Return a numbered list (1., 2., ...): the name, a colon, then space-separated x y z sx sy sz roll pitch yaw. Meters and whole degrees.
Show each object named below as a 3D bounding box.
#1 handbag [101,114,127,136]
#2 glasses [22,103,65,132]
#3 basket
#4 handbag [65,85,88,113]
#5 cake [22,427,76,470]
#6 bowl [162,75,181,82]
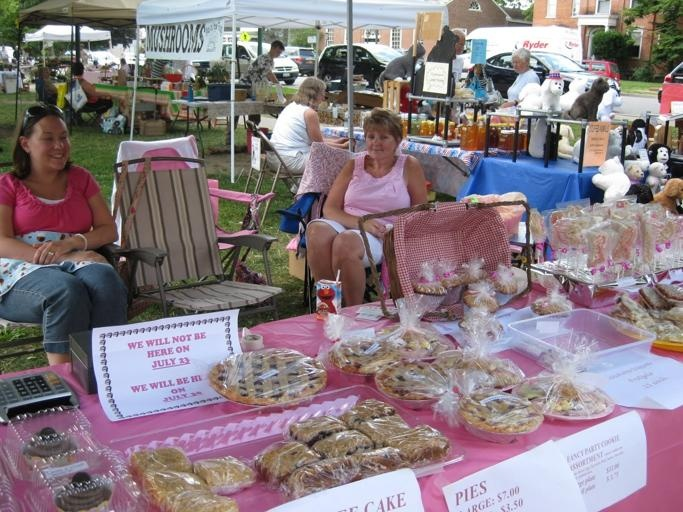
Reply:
1. handbag: -5.220 -3.020 12.057 0.581 0.525 0.429 3 14 -5
2. glasses: -1.644 -0.732 2.844 0.192 0.057 0.167 -10 5 38
3. basket: 0.402 -0.059 2.026 0.451 0.337 0.170 -5 -4 -20
4. handbag: -5.985 -3.601 11.895 0.244 0.488 0.431 25 38 27
5. cake: -0.684 0.446 1.228 0.096 0.045 0.097 10 17 40
6. bowl: -3.617 -3.865 11.341 0.343 0.170 0.265 -5 13 -17
